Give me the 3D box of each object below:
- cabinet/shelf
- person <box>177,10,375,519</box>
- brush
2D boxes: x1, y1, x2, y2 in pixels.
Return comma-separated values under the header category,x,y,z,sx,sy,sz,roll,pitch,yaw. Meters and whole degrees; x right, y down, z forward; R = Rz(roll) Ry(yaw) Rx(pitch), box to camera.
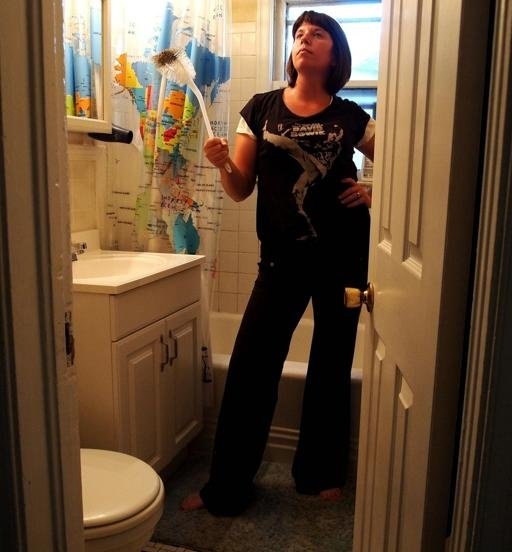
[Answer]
category,x,y,z,sx,sy,sz,roll,pitch,yaw
cabinet/shelf,-0.417,0.329,1.797,0.257,0.713,0.515,0,7,26
person,0.116,-0.019,1.729,0.648,1.677,0.397,-4,16,-10
brush,-0.237,-0.596,1.617,0.189,0.279,0.367,-4,19,-10
